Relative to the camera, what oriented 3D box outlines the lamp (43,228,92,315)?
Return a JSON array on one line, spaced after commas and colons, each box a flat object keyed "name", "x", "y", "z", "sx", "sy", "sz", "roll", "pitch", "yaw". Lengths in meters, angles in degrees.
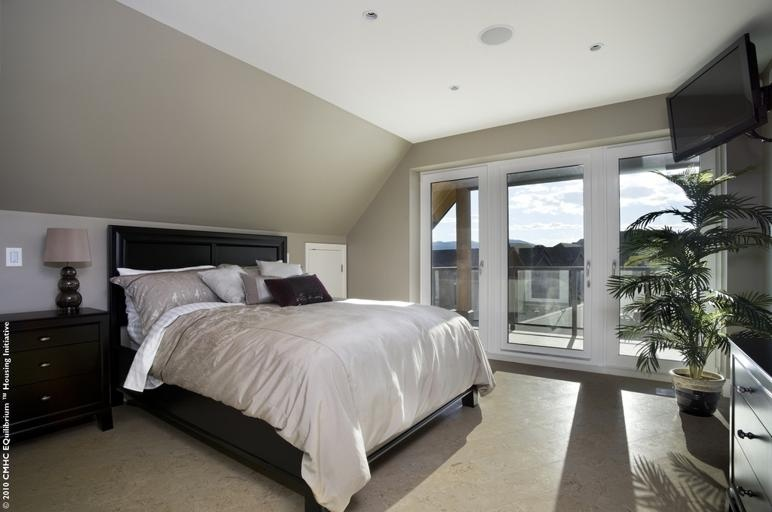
[{"name": "lamp", "x": -2.810, "y": 0.119, "z": 4.188, "sx": 0.360, "sy": 0.749, "sz": 0.427, "roll": 0, "pitch": -2, "yaw": -36}]
